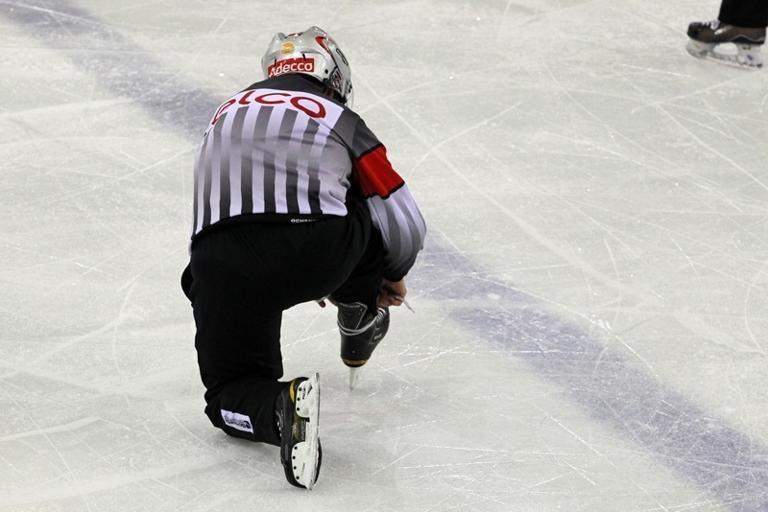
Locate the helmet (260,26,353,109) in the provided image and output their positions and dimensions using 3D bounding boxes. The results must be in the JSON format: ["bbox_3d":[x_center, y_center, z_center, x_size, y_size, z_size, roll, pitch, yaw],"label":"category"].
[{"bbox_3d":[-0.322,-0.861,3.982,0.339,0.307,0.415,2,1,29],"label":"helmet"}]

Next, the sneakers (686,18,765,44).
[{"bbox_3d":[2.370,-1.542,6.007,0.617,0.208,0.176,2,31,8],"label":"sneakers"}]

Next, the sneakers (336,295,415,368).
[{"bbox_3d":[-0.103,0.344,3.930,0.158,0.263,0.398,13,43,24],"label":"sneakers"}]

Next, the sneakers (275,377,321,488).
[{"bbox_3d":[-0.339,0.672,3.430,0.240,0.416,0.171,0,0,36],"label":"sneakers"}]
